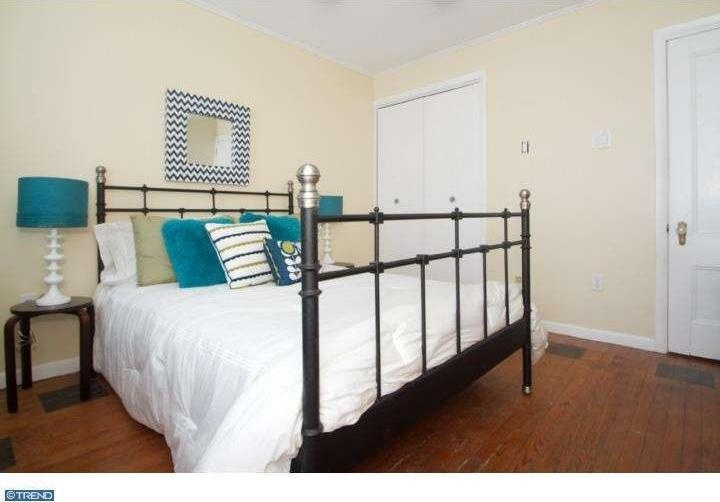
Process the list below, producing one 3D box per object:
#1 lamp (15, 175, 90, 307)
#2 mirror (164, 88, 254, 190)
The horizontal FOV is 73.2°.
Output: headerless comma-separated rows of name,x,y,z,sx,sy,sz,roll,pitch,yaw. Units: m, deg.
lamp,-2.111,-0.084,3.333,0.415,0.848,0.402,7,11,40
mirror,-1.296,-0.943,4.031,0.912,0.912,0.072,0,1,-43
